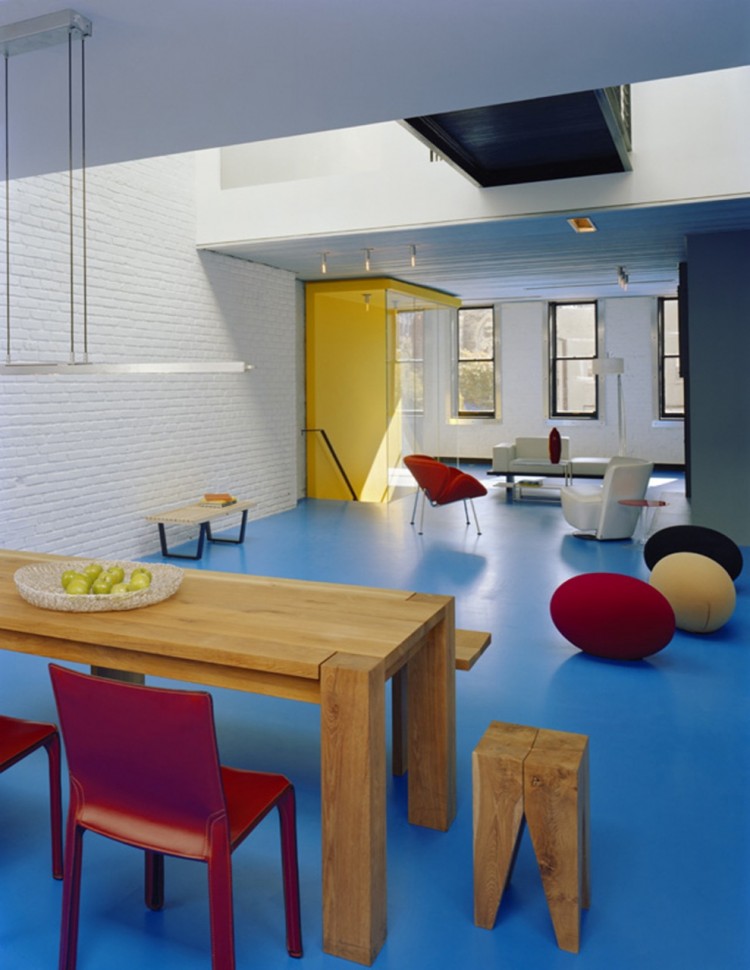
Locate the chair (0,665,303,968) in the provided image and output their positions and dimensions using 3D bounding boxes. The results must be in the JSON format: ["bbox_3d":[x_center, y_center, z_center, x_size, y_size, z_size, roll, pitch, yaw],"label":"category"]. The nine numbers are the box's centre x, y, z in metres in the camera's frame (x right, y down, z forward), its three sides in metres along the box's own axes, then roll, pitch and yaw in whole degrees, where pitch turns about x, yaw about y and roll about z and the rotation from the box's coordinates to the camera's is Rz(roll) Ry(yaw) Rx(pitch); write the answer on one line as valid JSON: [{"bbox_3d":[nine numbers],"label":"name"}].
[{"bbox_3d":[-0.468,0.761,1.741,0.494,0.801,0.465,3,5,24],"label":"chair"}]

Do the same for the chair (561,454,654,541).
[{"bbox_3d":[2.293,0.132,7.518,0.824,0.934,0.743,2,8,19],"label":"chair"}]

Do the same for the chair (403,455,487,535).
[{"bbox_3d":[0.806,0.112,8.361,0.842,0.934,0.896,5,14,43],"label":"chair"}]

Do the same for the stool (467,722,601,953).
[{"bbox_3d":[0.418,0.933,2.026,0.301,0.494,0.314,3,5,18],"label":"stool"}]
